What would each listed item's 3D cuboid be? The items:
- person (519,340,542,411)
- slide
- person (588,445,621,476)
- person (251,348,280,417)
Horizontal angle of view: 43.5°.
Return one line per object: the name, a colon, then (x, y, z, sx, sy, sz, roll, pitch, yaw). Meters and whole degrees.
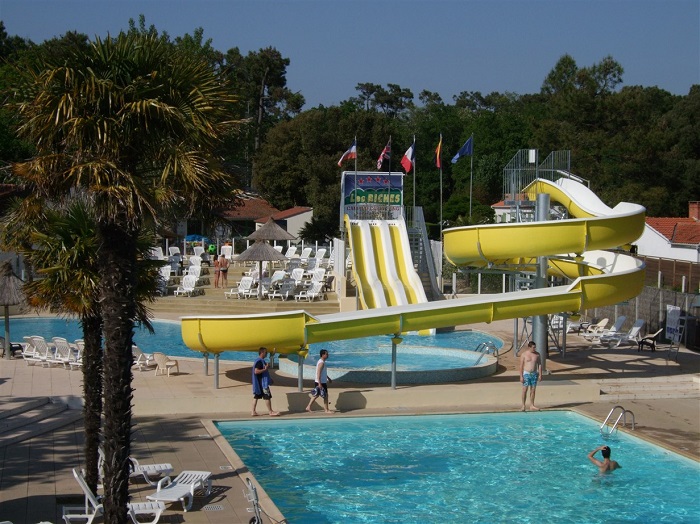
person: (4.159, 2.600, 20.071, 0.439, 1.560, 0.882, 0, 1, 12)
slide: (2.514, 0.492, 21.929, 8.187, 2.742, 7.062, -2, 4, -14)
person: (4.926, 3.769, 16.915, 0.581, 0.500, 0.786, 0, 1, 29)
person: (-1.873, 2.616, 19.202, 0.510, 1.504, 1.226, 0, 1, -6)
